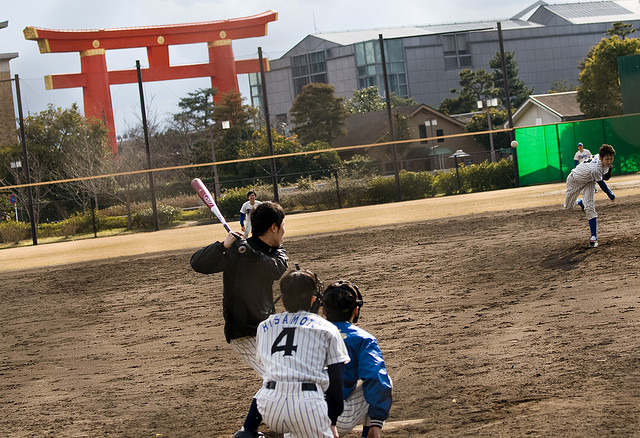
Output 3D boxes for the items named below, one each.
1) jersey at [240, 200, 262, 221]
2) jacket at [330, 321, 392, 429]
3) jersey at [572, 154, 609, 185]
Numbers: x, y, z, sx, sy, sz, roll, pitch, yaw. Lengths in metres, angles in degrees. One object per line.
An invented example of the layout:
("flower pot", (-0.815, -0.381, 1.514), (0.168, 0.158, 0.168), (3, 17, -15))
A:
("jersey", (-3.032, -0.359, 49.922), (1.129, 1.056, 0.458), (-1, 5, -10))
("jacket", (1.427, 5.808, 43.302), (1.808, 3.868, 2.465), (0, -5, -2))
("jersey", (11.866, -2.149, 50.550), (1.412, 0.794, 1.978), (17, -13, 2))
